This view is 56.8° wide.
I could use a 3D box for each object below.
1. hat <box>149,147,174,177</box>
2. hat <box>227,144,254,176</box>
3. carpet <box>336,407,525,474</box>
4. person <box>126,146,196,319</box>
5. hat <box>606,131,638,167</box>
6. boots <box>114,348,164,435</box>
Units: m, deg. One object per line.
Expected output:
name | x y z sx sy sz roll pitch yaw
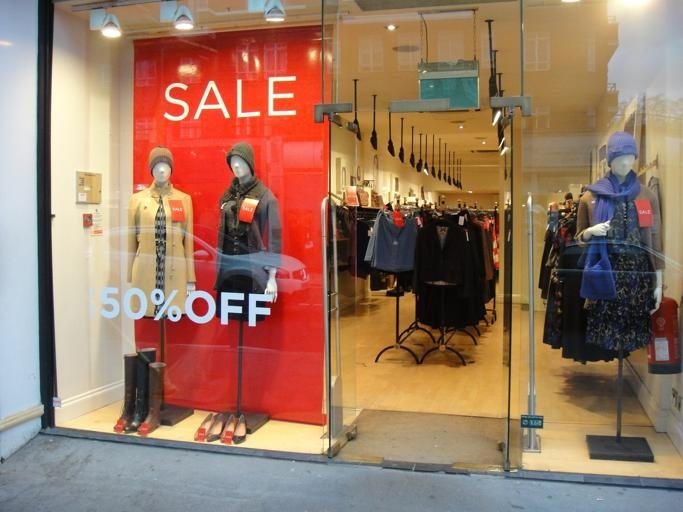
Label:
hat | -1.461 -0.763 5.099 0.156 0.233 0.225 1 -2 -17
hat | -0.810 -0.763 5.021 0.180 0.266 0.239 -5 2 33
carpet | 0.654 1.405 4.974 1.224 0.065 1.011 1 7 10
person | -1.451 -0.191 5.106 0.566 1.330 0.154 1 6 17
hat | 1.923 -0.748 4.349 0.164 0.213 0.207 -2 4 -5
boots | -1.627 1.076 5.067 0.359 0.613 0.277 0 6 2
